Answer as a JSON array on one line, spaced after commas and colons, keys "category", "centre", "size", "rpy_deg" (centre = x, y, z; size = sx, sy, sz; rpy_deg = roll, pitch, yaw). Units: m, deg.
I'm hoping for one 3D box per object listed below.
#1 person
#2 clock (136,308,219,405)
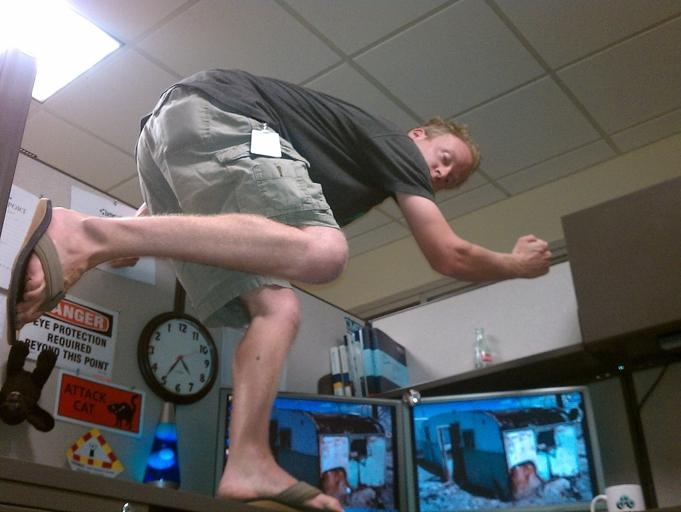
[{"category": "person", "centre": [-0.035, 0.287, 1.639], "size": [1.536, 1.308, 0.747], "rpy_deg": [17, -42, -16]}, {"category": "clock", "centre": [-0.546, 0.334, 1.583], "size": [0.357, 0.378, 0.047], "rpy_deg": [8, -31, -42]}]
